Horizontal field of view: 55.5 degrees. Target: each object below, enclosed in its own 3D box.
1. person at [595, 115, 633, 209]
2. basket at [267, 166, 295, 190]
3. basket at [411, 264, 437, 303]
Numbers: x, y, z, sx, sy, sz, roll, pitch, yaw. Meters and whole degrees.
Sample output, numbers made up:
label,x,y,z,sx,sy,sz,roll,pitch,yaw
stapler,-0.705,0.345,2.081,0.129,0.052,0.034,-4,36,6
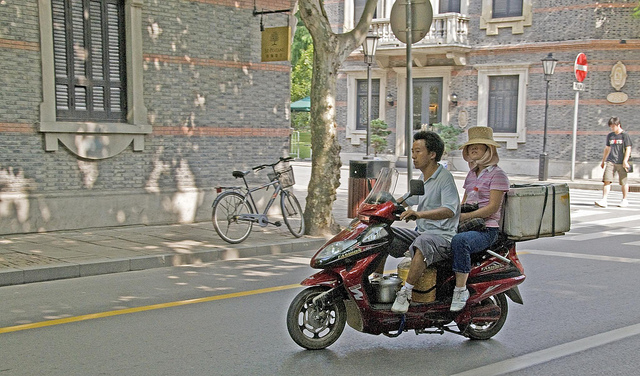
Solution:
label,x,y,z,sx,sy,sz,roll,pitch,yaw
person,9.376,-0.798,19.288,0.855,2.917,0.917,7,15,25
basket,-1.019,-0.215,14.620,0.846,0.495,0.623,-15,6,-12
basket,1.409,1.309,8.375,0.464,0.418,0.453,4,0,-41
